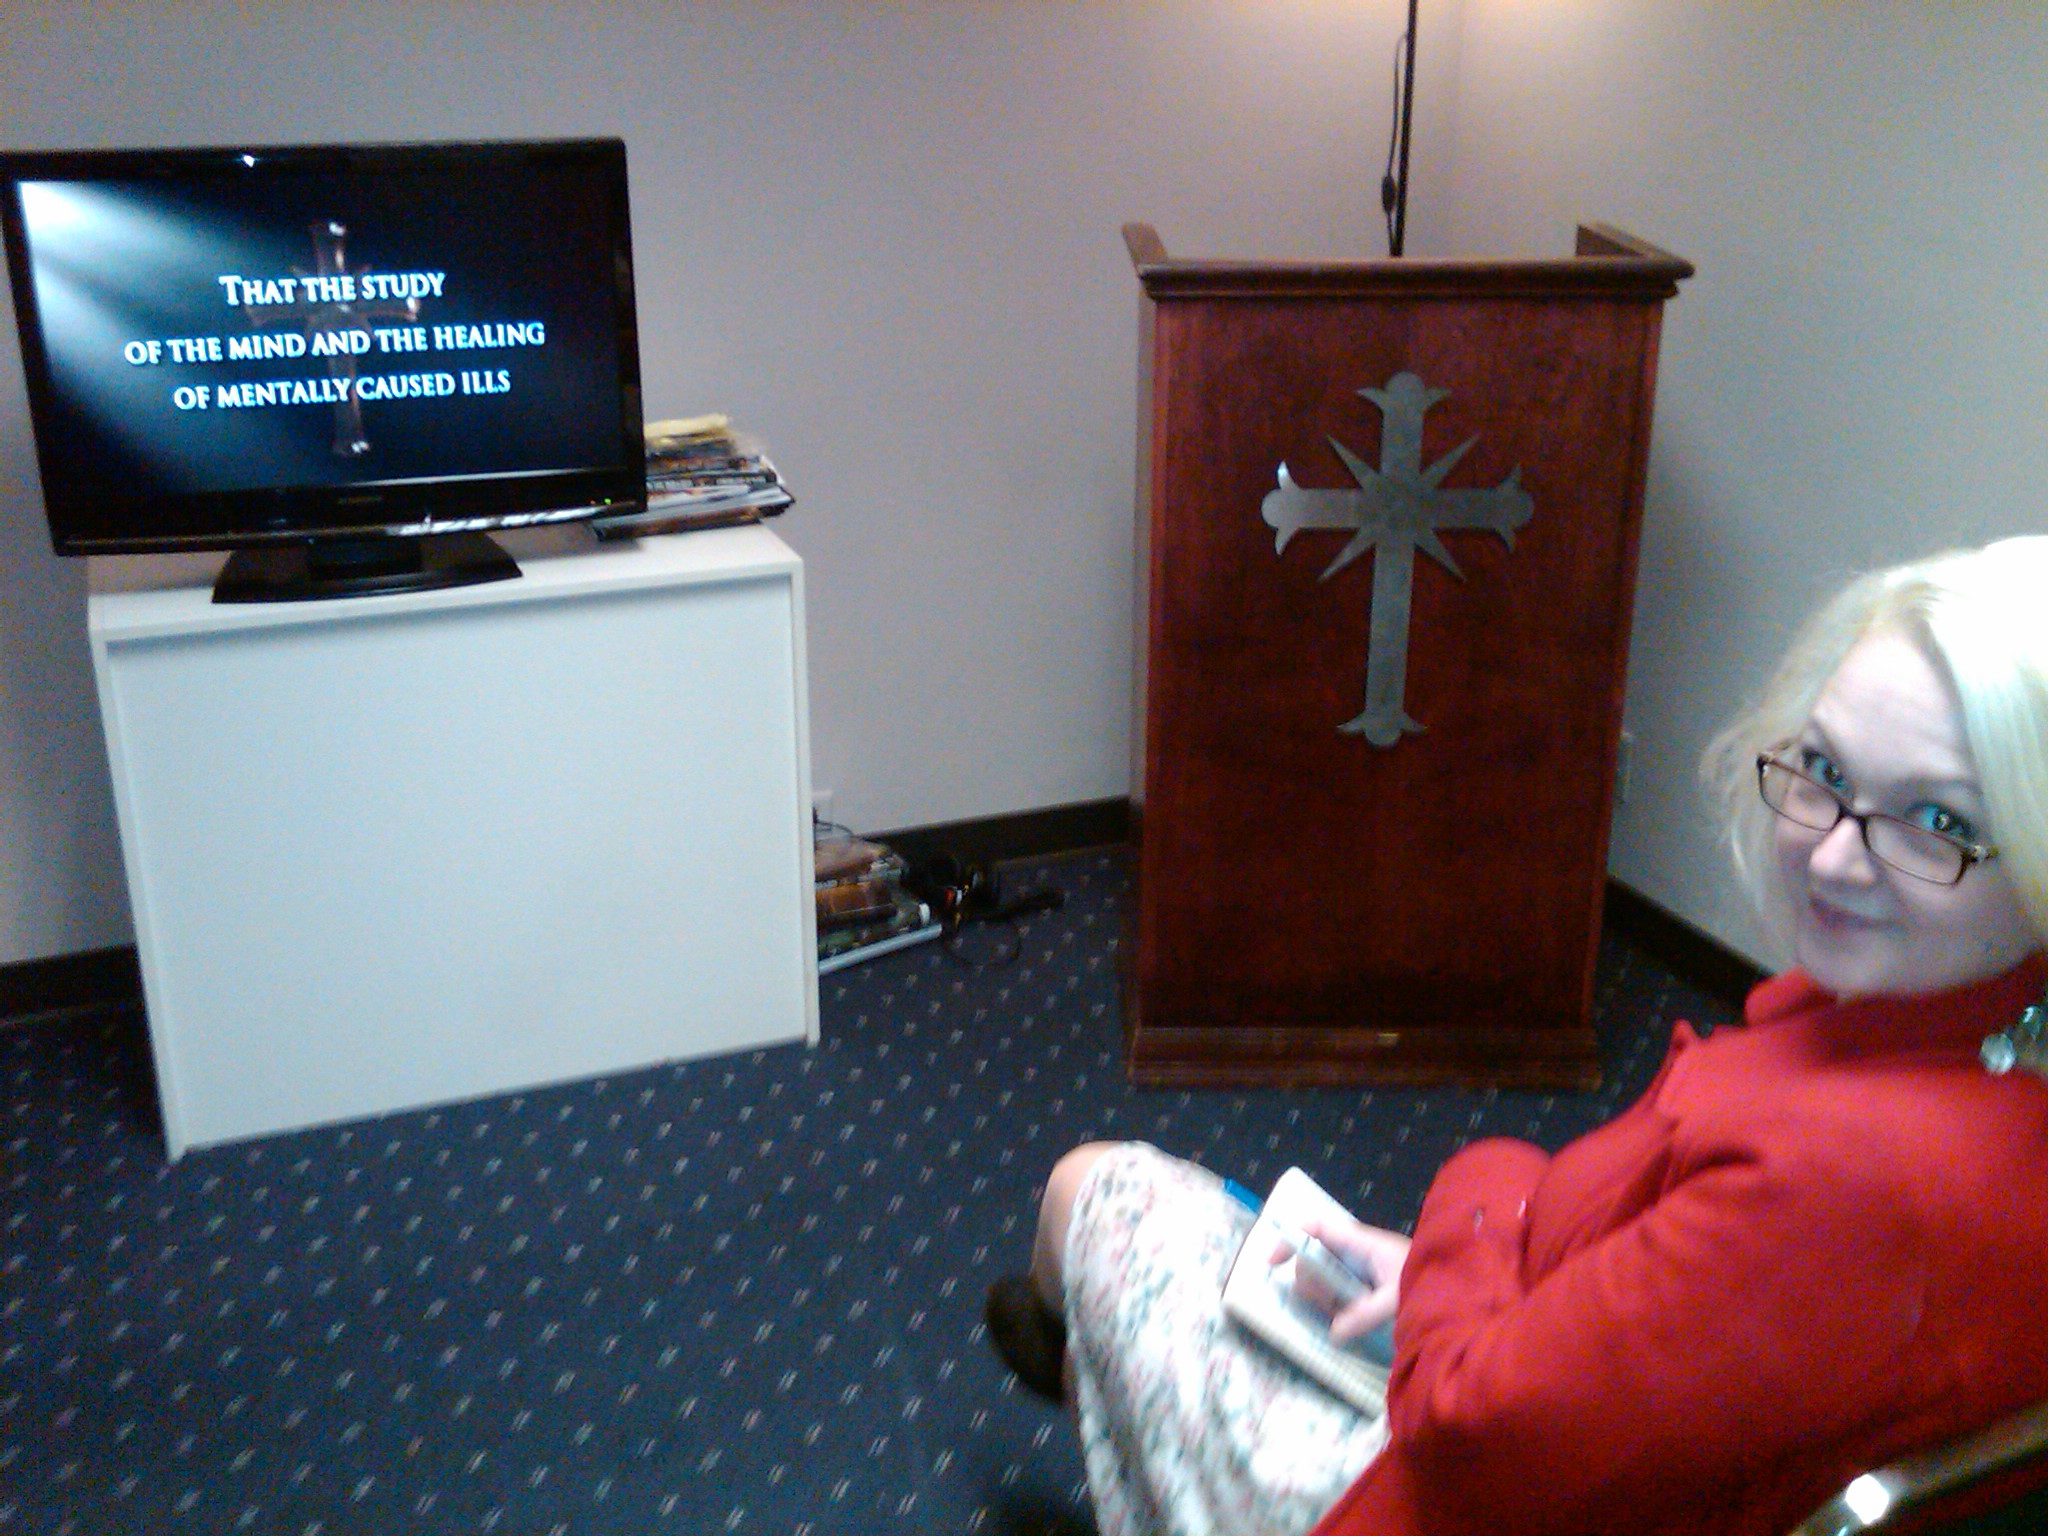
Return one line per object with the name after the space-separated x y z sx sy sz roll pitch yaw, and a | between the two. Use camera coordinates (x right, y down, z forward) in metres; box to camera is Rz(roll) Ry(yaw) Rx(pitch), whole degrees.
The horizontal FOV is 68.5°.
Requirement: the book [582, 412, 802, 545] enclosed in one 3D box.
-0.574 -0.505 2.655 0.256 0.090 0.264 -9 21 -18 | book

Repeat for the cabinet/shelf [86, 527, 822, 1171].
-0.917 0.298 2.953 1.459 1.167 0.861 -8 17 -29 | cabinet/shelf

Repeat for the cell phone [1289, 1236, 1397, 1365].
0.303 0.512 1.436 0.088 0.098 0.029 25 16 25 | cell phone

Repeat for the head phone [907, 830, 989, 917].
-0.175 0.231 3.264 0.112 0.095 0.224 -6 30 -17 | head phone
